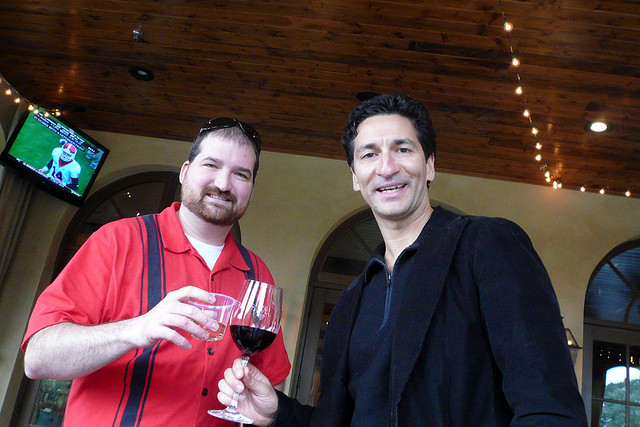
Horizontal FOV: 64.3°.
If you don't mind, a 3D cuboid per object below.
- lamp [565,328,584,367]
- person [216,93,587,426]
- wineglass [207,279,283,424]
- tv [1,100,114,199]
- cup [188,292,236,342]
[{"bbox_3d":[2.355,1.230,4.714,0.107,0.371,0.518,-6,-24,25],"label":"lamp"},{"bbox_3d":[0.387,0.175,2.270,1.283,1.495,0.402,-7,-24,26],"label":"person"},{"bbox_3d":[-0.287,0.495,2.236,0.218,0.373,0.179,7,-22,-6],"label":"wineglass"},{"bbox_3d":[-2.637,-0.638,5.035,0.846,0.620,0.110,36,-15,-35],"label":"tv"},{"bbox_3d":[-0.505,0.470,2.271,0.234,0.191,0.243,3,-10,1],"label":"cup"}]
